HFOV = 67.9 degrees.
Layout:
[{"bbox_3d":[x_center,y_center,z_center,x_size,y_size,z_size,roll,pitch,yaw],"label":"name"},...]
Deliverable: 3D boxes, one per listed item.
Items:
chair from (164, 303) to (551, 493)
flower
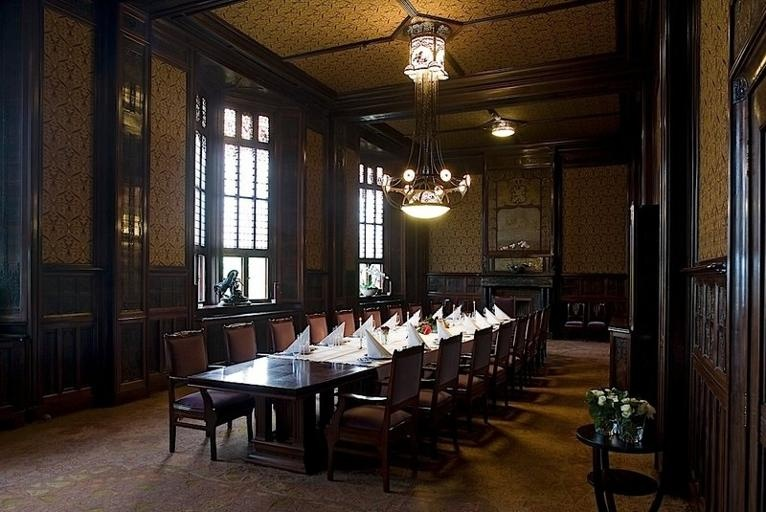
[{"bbox_3d":[-0.343,1.440,6.310,3.530,1.406,2.360,-7,12,-38],"label":"chair"},{"bbox_3d":[1.978,1.293,4.743,0.425,0.308,0.441,0,-6,31],"label":"flower"}]
